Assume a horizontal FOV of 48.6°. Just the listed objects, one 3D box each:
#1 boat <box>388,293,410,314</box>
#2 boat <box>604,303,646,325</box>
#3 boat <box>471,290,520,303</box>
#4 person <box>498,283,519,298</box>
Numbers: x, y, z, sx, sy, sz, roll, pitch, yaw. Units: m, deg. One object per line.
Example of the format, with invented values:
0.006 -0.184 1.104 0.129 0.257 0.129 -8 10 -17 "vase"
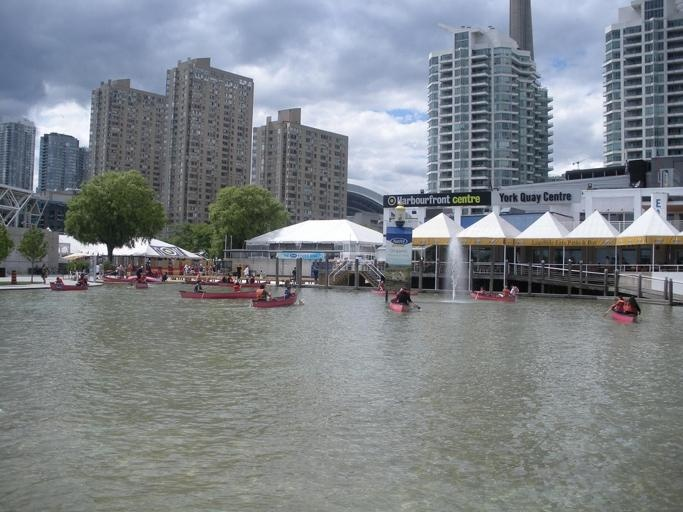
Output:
3.480 2.927 46.169 1.104 0.634 3.741 0 1 -1 "boat"
15.210 3.155 41.183 0.984 0.727 2.027 1 3 -17 "boat"
11.049 3.009 55.946 1.075 0.699 4.390 3 2 -26 "boat"
12.357 2.591 56.040 0.906 1.110 3.504 2 3 22 "person"
